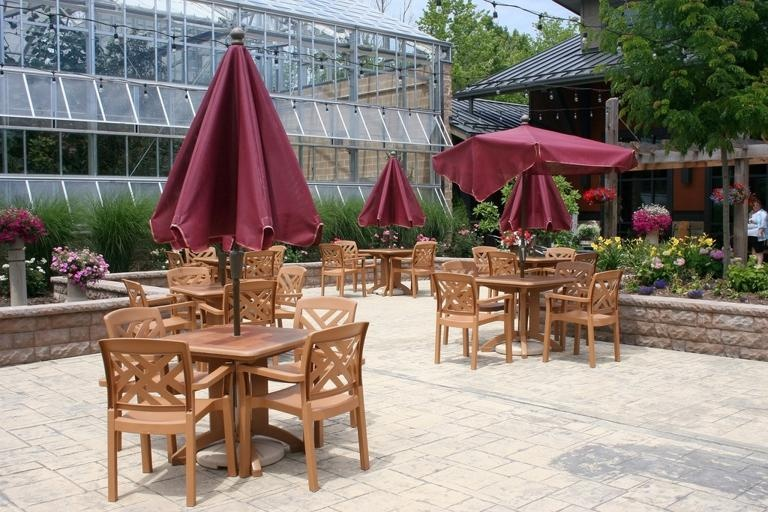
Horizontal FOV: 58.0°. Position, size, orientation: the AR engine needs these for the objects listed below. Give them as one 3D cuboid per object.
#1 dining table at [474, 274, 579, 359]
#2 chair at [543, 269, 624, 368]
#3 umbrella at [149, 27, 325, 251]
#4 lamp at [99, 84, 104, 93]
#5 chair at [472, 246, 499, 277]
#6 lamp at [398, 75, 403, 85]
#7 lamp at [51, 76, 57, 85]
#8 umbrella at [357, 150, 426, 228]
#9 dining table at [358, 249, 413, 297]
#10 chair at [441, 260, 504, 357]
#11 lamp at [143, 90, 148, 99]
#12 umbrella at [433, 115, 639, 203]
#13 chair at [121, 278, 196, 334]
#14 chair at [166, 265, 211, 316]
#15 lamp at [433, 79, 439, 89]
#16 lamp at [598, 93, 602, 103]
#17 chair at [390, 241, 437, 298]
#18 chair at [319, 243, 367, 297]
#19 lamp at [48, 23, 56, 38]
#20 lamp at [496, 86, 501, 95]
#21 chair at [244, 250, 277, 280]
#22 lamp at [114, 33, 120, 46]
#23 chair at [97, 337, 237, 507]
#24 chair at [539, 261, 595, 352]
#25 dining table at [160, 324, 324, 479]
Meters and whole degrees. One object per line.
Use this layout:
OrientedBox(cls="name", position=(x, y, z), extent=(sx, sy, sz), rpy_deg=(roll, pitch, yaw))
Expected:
OrientedBox(cls="dining table", position=(2.216, 0.936, 10.810), extent=(1.256, 1.203, 1.299), rpy_deg=(3, 9, 28))
OrientedBox(cls="chair", position=(2.969, 0.885, 10.300), extent=(0.978, 1.352, 0.987), rpy_deg=(2, 4, 33))
OrientedBox(cls="umbrella", position=(-1.488, -0.985, 7.521), extent=(2.259, 2.616, 2.019), rpy_deg=(-1, 1, -8))
OrientedBox(cls="lamp", position=(-7.843, -4.616, 19.240), extent=(0.101, 0.167, 0.075), rpy_deg=(-3, 9, -16))
OrientedBox(cls="chair", position=(1.866, 0.088, 13.083), extent=(0.519, 0.806, 0.590), rpy_deg=(0, 0, 1))
OrientedBox(cls="lamp", position=(0.635, -6.444, 25.326), extent=(0.234, 0.298, 0.066), rpy_deg=(-9, 13, -38))
OrientedBox(cls="lamp", position=(-8.825, -4.693, 18.522), extent=(0.107, 0.175, 0.058), rpy_deg=(0, 10, 4))
OrientedBox(cls="umbrella", position=(0.313, -1.695, 17.268), extent=(1.859, 1.846, 1.547), rpy_deg=(1, 7, -10))
OrientedBox(cls="dining table", position=(0.172, 0.432, 16.832), extent=(1.189, 0.861, 1.164), rpy_deg=(-20, 2, -9))
OrientedBox(cls="chair", position=(1.529, 0.712, 11.645), extent=(1.195, 1.744, 1.301), rpy_deg=(3, 3, 44))
OrientedBox(cls="lamp", position=(-6.834, -4.664, 19.993), extent=(0.061, 0.209, 0.163), rpy_deg=(5, 12, 30))
OrientedBox(cls="umbrella", position=(2.183, -1.428, 10.110), extent=(1.840, 0.796, 1.836), rpy_deg=(-3, 11, -8))
OrientedBox(cls="chair", position=(-2.937, 0.670, 9.162), extent=(0.688, 0.969, 0.632), rpy_deg=(-5, 11, -30))
OrientedBox(cls="chair", position=(-2.833, 0.592, 10.289), extent=(0.676, 0.834, 0.589), rpy_deg=(-5, 1, -34))
OrientedBox(cls="lamp", position=(1.962, -6.428, 26.020), extent=(0.260, 0.262, 0.484), rpy_deg=(4, -7, 6))
OrientedBox(cls="lamp", position=(7.877, -5.719, 25.219), extent=(0.137, 0.254, 0.060), rpy_deg=(-1, -4, 10))
OrientedBox(cls="chair", position=(0.764, 0.274, 16.427), extent=(0.885, 1.234, 0.885), rpy_deg=(6, 8, 42))
OrientedBox(cls="chair", position=(-0.978, 0.313, 16.414), extent=(0.812, 1.247, 0.936), rpy_deg=(3, 7, 27))
OrientedBox(cls="lamp", position=(-8.923, -6.081, 18.681), extent=(0.166, 0.398, 0.368), rpy_deg=(-5, 11, -24))
OrientedBox(cls="lamp", position=(4.148, -5.977, 25.055), extent=(0.187, 0.237, 0.267), rpy_deg=(3, 24, 8))
OrientedBox(cls="chair", position=(-2.183, 0.165, 12.228), extent=(0.424, 0.654, 0.444), rpy_deg=(-2, 13, -21))
OrientedBox(cls="lamp", position=(-7.603, -6.159, 19.772), extent=(0.136, 0.347, 0.155), rpy_deg=(4, 12, 25))
OrientedBox(cls="chair", position=(-1.999, 1.409, 6.478), extent=(1.150, 1.485, 0.979), rpy_deg=(-1, 10, -1))
OrientedBox(cls="chair", position=(2.872, 0.829, 10.750), extent=(0.920, 1.141, 0.905), rpy_deg=(-19, 1, -32))
OrientedBox(cls="dining table", position=(-1.376, 1.401, 7.213), extent=(1.429, 1.387, 1.399), rpy_deg=(1, 2, 29))
